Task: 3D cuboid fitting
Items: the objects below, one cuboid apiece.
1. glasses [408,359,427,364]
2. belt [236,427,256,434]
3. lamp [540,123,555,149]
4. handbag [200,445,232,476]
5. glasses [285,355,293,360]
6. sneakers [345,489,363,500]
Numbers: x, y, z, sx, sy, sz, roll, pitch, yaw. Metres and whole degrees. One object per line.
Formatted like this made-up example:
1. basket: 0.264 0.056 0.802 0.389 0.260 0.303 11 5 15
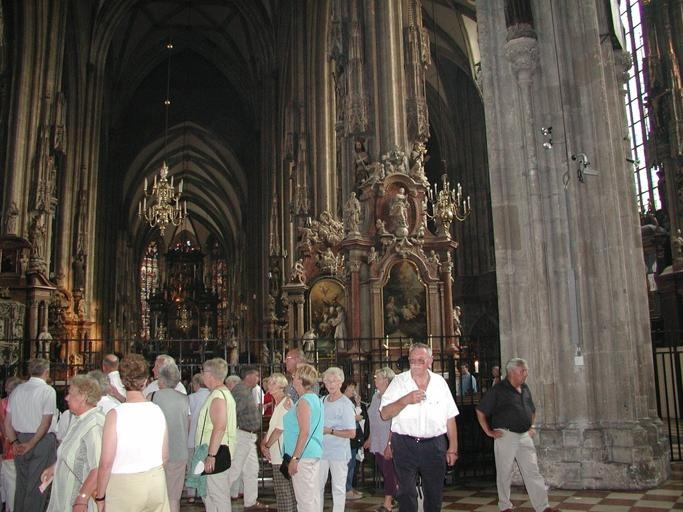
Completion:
1. glasses: 0.845 1.144 8.006 0.186 0.066 0.090 -7 -13 13
2. belt: -1.255 2.306 9.752 0.145 0.038 0.151 15 -12 4
3. lamp: 3.057 -1.750 10.834 0.120 0.402 0.158 3 7 10
4. handbag: -1.406 2.302 8.340 0.243 0.322 0.328 -11 -15 32
5. glasses: -0.686 1.335 9.715 0.079 0.073 0.265 -1 -13 -12
6. sneakers: 0.187 3.337 10.294 0.248 0.109 0.088 1 -7 -3
